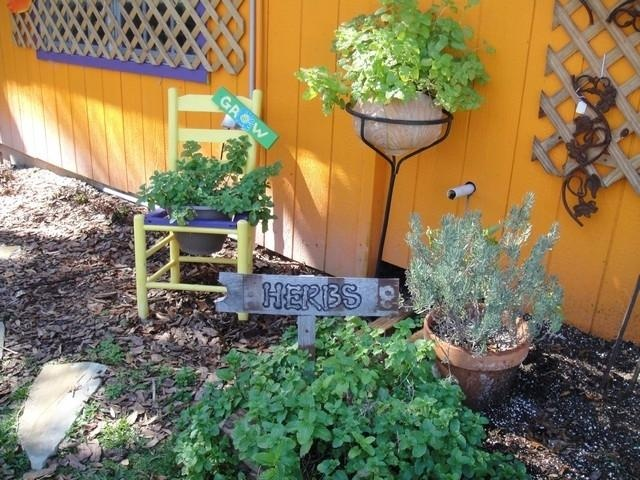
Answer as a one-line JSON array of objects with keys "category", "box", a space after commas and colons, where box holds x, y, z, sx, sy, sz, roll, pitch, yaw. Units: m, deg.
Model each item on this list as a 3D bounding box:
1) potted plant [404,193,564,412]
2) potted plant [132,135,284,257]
[{"category": "potted plant", "box": [0.706, 0.242, 2.505, 0.779, 1.172, 0.817, -1, 16, -6]}, {"category": "potted plant", "box": [-0.644, -0.313, 2.835, 0.758, 0.571, 0.683, 1, 32, -15]}]
